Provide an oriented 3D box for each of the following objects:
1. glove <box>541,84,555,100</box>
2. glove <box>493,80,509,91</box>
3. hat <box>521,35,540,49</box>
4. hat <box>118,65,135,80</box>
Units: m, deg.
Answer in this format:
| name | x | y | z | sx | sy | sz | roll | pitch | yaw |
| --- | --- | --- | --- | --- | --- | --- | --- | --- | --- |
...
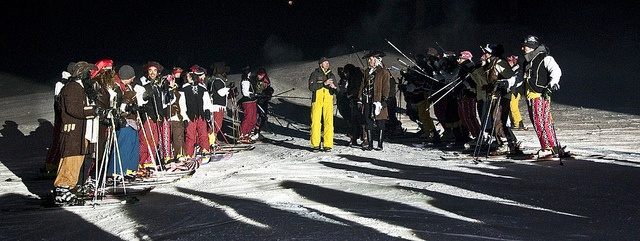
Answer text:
| name | x | y | z | sx | sy | sz | roll | pitch | yaw |
| --- | --- | --- | --- | --- | --- | --- | --- | --- | --- |
| glove | 12.801 | -1.601 | 26.380 | 0.703 | 0.704 | 0.244 | -3 | -2 | -4 |
| glove | 10.394 | -2.022 | 26.894 | 0.856 | 0.245 | 0.461 | -5 | 40 | -11 |
| hat | 12.110 | -4.524 | 26.892 | 1.017 | 0.655 | 0.744 | 23 | 13 | 19 |
| hat | -10.517 | -2.681 | 25.642 | 0.957 | 0.603 | 0.825 | 8 | 26 | 0 |
